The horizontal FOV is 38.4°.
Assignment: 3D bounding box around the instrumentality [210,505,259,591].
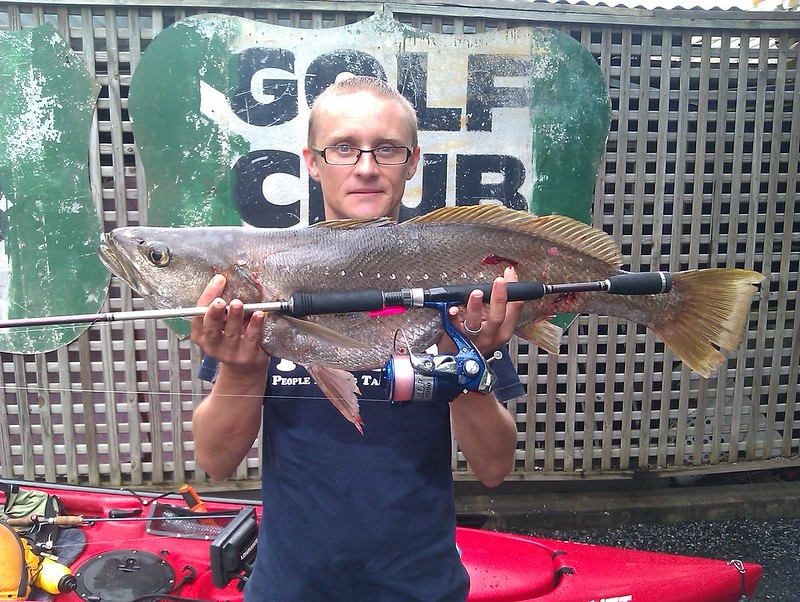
[{"bbox_3d":[-1.051,1.680,7.825,0.285,0.376,0.505,5,24,16],"label":"instrumentality"}]
